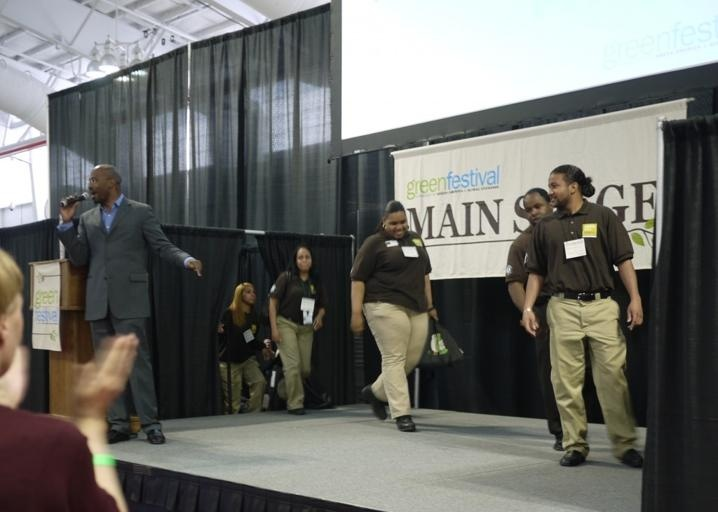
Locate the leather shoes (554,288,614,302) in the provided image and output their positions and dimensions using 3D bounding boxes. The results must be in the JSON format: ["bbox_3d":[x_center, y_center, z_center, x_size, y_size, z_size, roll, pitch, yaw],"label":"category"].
[{"bbox_3d":[1.382,0.245,4.133,0.306,0.075,0.083,-3,-5,3],"label":"leather shoes"}]

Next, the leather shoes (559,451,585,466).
[{"bbox_3d":[1.333,1.262,4.206,0.182,0.072,0.077,1,-15,20],"label":"leather shoes"}]

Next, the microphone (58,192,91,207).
[{"bbox_3d":[-1.974,-0.392,4.653,0.145,0.105,0.241,1,-6,-35],"label":"microphone"}]

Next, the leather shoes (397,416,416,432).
[{"bbox_3d":[0.376,1.340,5.355,0.073,0.085,0.188,2,-15,-20],"label":"leather shoes"}]

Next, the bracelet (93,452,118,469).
[{"bbox_3d":[-0.694,0.557,1.837,0.061,0.041,0.061,0,1,-37],"label":"bracelet"}]

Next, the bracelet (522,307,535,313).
[{"bbox_3d":[1.100,0.353,4.382,0.061,0.032,0.081,8,-9,-42],"label":"bracelet"}]

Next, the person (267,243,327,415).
[{"bbox_3d":[-0.573,0.699,6.469,0.384,1.594,0.556,-4,-5,31],"label":"person"}]

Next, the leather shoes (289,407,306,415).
[{"bbox_3d":[-0.580,1.462,6.323,0.162,0.070,0.055,-11,-14,41],"label":"leather shoes"}]

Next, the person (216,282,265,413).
[{"bbox_3d":[-1.224,0.955,7.031,0.536,1.331,0.544,0,-5,-29],"label":"person"}]

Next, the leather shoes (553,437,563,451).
[{"bbox_3d":[1.371,1.312,4.663,0.041,0.056,0.119,-1,-14,4],"label":"leather shoes"}]

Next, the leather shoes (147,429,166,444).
[{"bbox_3d":[-1.489,1.313,4.919,0.138,0.112,0.173,-1,-5,-17],"label":"leather shoes"}]

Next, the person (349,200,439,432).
[{"bbox_3d":[0.261,0.491,5.590,0.653,1.848,0.543,-2,-4,5],"label":"person"}]

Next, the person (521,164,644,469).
[{"bbox_3d":[1.384,0.373,4.220,0.688,1.896,0.311,-3,-4,13],"label":"person"}]

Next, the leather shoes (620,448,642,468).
[{"bbox_3d":[1.687,1.253,4.208,0.067,0.081,0.191,-4,6,-15],"label":"leather shoes"}]
